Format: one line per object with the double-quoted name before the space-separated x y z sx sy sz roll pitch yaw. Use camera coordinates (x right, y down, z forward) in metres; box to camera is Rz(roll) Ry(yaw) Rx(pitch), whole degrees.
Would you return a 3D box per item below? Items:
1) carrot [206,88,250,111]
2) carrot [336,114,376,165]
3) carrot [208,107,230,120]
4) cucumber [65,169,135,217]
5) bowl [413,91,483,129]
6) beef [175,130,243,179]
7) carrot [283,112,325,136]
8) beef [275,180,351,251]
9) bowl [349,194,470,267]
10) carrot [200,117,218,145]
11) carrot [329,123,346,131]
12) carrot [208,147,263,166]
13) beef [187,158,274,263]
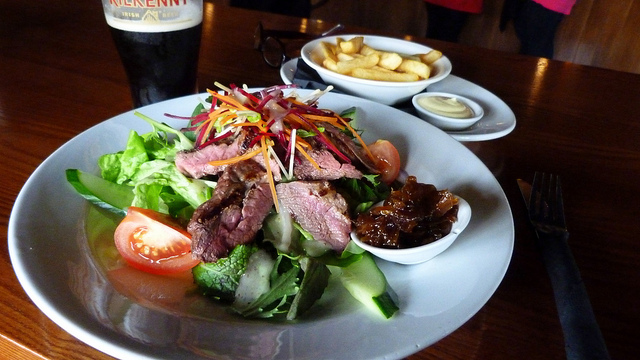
"carrot" -0.460 -0.400 2.396 0.285 0.046 0.082 26 57 21
"carrot" 0.193 -0.207 2.542 0.421 0.036 0.061 42 87 -5
"carrot" -0.507 -0.335 2.355 0.140 0.040 0.035 -15 90 11
"cucumber" -1.061 0.046 2.282 0.070 0.391 0.135 -6 66 18
"bowl" 0.762 -0.483 2.984 0.402 0.391 0.142 1 88 6
"beef" -0.533 -0.117 2.384 0.377 0.096 0.186 -18 97 -12
"carrot" -0.096 -0.281 2.389 0.149 0.097 0.052 35 40 -26
"beef" -0.004 0.144 2.393 0.301 0.108 0.483 -36 72 -12
"bowl" 0.403 0.332 2.353 0.636 0.605 0.212 5 81 8
"carrot" -0.576 -0.248 2.401 0.009 0.030 0.171 42 67 -21
"carrot" 0.092 -0.278 2.495 0.094 0.026 0.020 25 61 1
"carrot" -0.425 -0.118 2.346 0.218 0.030 0.030 -19 82 -20
"beef" -0.425 0.154 2.272 0.331 0.111 0.538 31 57 1
